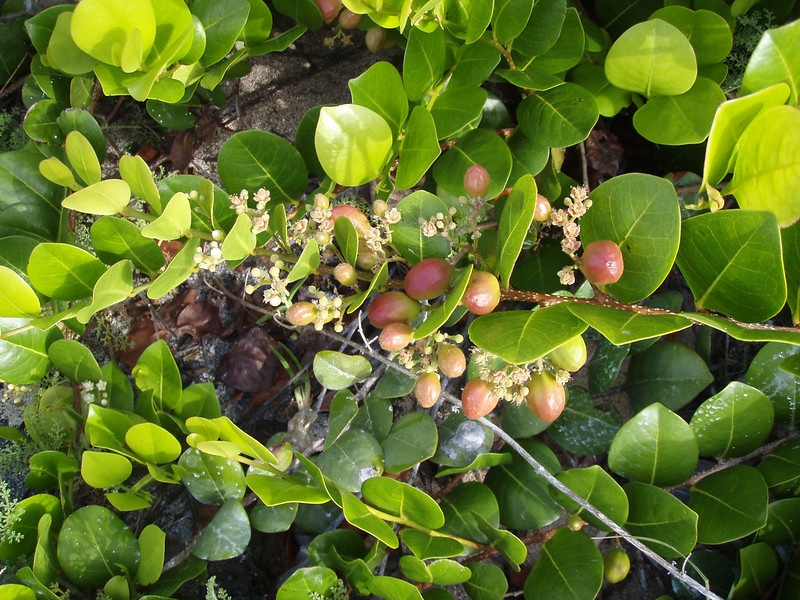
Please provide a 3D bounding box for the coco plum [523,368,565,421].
[{"bbox_3d":[0.384,0.256,1.862,0.092,0.097,0.131,-20,88,-17],"label":"coco plum"}]

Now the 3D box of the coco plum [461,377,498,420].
[{"bbox_3d":[0.210,0.262,1.875,0.077,0.107,0.094,-6,95,-11],"label":"coco plum"}]

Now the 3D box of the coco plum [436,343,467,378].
[{"bbox_3d":[0.127,0.170,1.847,0.061,0.067,0.091,-20,73,-24],"label":"coco plum"}]
